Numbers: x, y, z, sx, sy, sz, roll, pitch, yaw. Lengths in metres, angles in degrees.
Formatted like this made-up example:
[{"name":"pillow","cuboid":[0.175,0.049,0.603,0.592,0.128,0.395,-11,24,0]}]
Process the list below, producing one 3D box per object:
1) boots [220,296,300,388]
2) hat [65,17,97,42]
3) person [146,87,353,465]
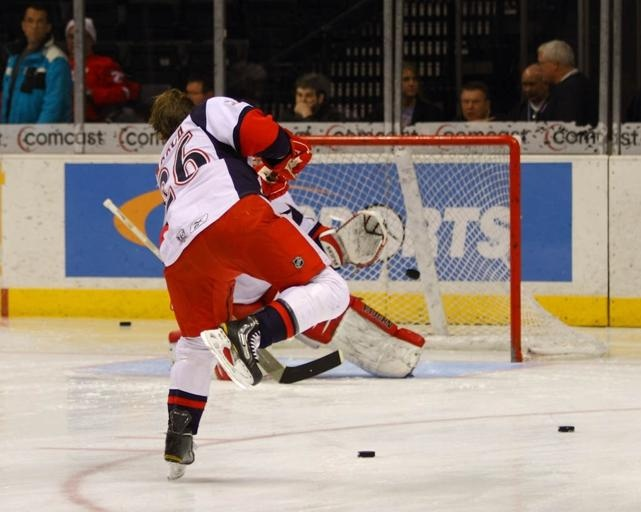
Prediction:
[{"name":"boots","cuboid":[-0.310,0.504,6.364,0.181,0.349,0.537,-9,-7,-24]},{"name":"hat","cuboid":[-2.013,-1.911,10.450,0.176,0.170,0.237,0,-13,11]},{"name":"person","cuboid":[-0.376,0.136,6.158,0.904,1.856,0.517,0,4,-4]}]
